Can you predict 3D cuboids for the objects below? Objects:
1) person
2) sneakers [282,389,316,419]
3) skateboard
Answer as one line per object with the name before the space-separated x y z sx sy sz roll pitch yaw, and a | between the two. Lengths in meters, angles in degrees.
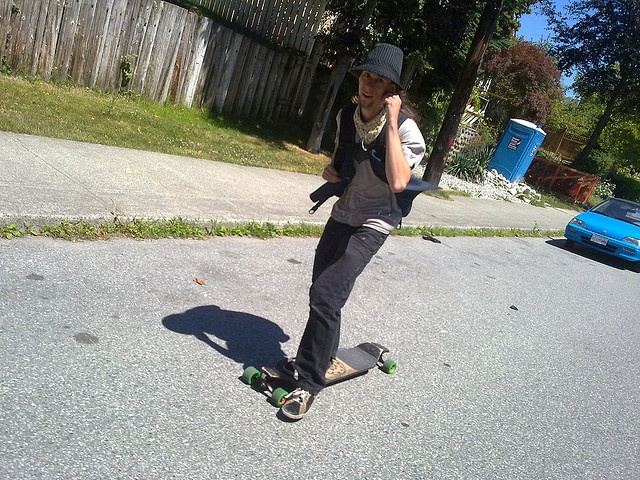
person | 0.220 -0.036 3.381 0.720 2.792 0.874 13 15 -2
sneakers | -0.145 1.226 3.409 0.129 0.132 0.330 16 10 22
skateboard | 0.122 1.126 3.946 0.478 0.206 1.390 22 20 39
